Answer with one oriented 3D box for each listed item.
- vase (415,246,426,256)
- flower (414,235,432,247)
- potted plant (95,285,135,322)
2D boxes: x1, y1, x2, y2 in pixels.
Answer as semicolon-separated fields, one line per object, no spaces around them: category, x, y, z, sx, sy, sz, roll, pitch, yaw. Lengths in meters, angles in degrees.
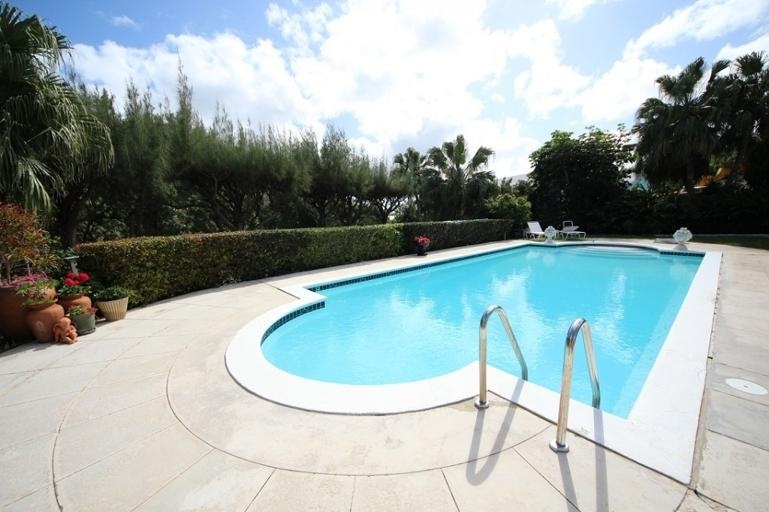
vase;1.586;-0.257;17.632;0.382;0.394;0.383;0;6;16
flower;1.631;-0.648;17.694;0.503;0.336;0.577;1;14;-4
potted plant;-6.765;1.171;10.097;0.714;0.809;0.377;-6;8;-23
